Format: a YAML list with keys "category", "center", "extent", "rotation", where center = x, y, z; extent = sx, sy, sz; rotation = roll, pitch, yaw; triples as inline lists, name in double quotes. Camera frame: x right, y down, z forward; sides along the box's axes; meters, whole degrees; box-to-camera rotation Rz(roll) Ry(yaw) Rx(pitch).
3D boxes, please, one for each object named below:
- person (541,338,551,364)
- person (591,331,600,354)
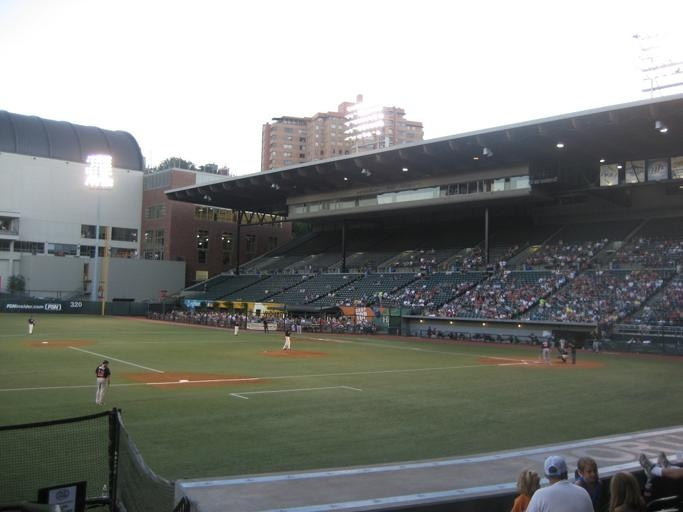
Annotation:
- category: "person"
  center: [11.293, 5.262, 39.347]
  extent: [0.381, 1.163, 1.303]
  rotation: [0, -5, 14]
- category: "person"
  center: [16.890, 5.643, 47.222]
  extent: [0.484, 1.201, 1.054]
  rotation: [0, -5, 17]
